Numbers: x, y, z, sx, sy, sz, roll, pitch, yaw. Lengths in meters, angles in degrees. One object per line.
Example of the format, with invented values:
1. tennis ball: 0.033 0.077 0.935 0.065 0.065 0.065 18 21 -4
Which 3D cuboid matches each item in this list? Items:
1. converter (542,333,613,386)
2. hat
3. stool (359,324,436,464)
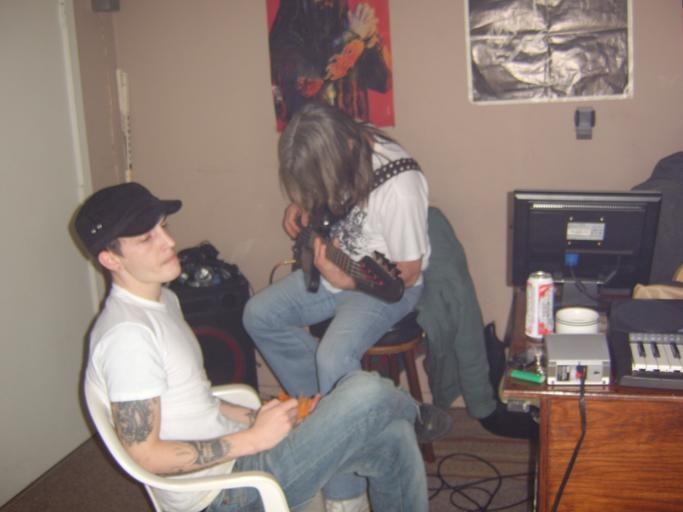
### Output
1. converter: 0.826 0.362 2.023 0.214 0.138 0.167 0 16 16
2. hat: -0.743 -0.131 2.007 0.347 0.234 0.191 -9 16 -17
3. stool: 0.268 0.632 3.054 0.431 0.743 0.365 -3 10 -5
